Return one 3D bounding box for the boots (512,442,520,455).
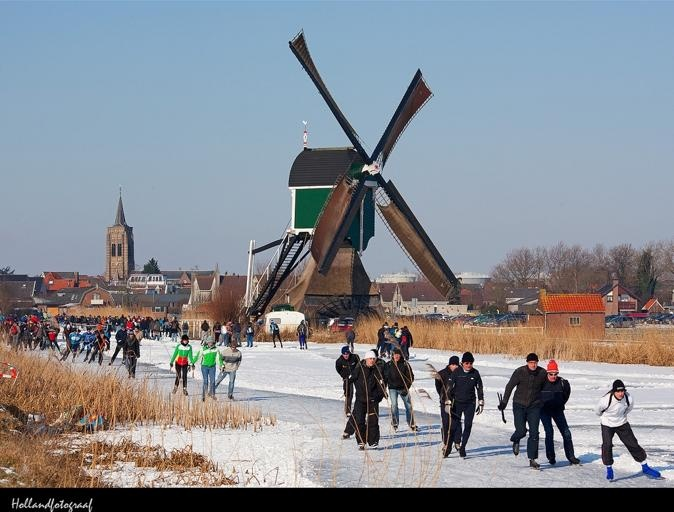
[{"bbox_3d":[3.366,3.662,17.230,0.117,0.374,0.258,0,-11,1],"label":"boots"}]

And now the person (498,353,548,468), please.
[{"bbox_3d":[3.454,2.856,17.018,0.836,2.092,1.039,2,-3,11],"label":"person"}]

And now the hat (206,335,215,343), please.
[{"bbox_3d":[-3.284,2.167,23.824,0.234,0.257,0.355,2,-9,-5],"label":"hat"}]

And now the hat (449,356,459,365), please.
[{"bbox_3d":[2.262,2.023,17.582,0.214,0.189,0.161,-2,2,-26],"label":"hat"}]

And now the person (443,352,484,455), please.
[{"bbox_3d":[2.435,2.865,17.459,0.680,2.027,0.660,2,-3,8],"label":"person"}]

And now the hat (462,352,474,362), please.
[{"bbox_3d":[2.507,1.949,17.379,0.204,0.230,0.231,3,-5,-11],"label":"hat"}]

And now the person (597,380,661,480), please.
[{"bbox_3d":[5.159,3.038,16.208,1.058,1.823,0.941,-5,3,24],"label":"person"}]

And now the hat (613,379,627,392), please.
[{"bbox_3d":[4.969,2.318,16.188,0.288,0.209,0.283,-17,-15,41],"label":"hat"}]
